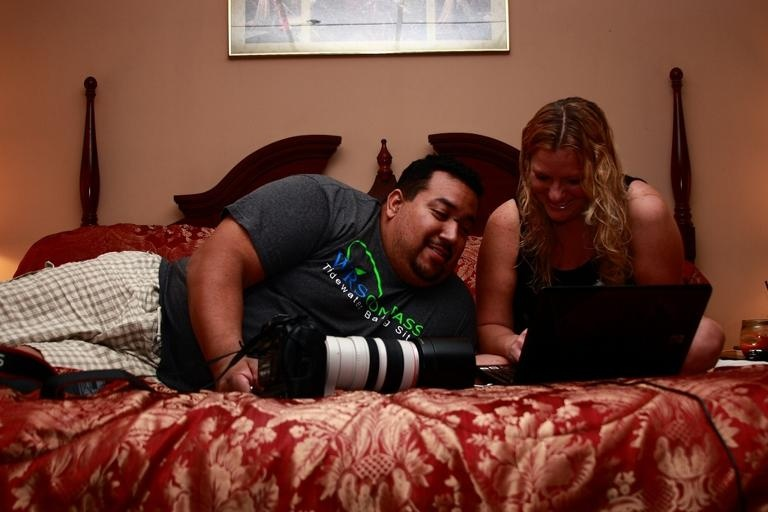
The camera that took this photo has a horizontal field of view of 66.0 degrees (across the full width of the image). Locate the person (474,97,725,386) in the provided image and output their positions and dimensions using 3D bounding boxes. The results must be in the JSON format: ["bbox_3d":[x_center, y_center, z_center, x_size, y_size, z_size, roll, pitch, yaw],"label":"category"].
[{"bbox_3d":[0.603,-0.047,2.313,0.967,1.104,0.798,-6,5,16],"label":"person"}]

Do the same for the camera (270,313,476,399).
[{"bbox_3d":[-0.040,0.262,1.411,0.377,0.144,0.220,5,-9,-13],"label":"camera"}]
